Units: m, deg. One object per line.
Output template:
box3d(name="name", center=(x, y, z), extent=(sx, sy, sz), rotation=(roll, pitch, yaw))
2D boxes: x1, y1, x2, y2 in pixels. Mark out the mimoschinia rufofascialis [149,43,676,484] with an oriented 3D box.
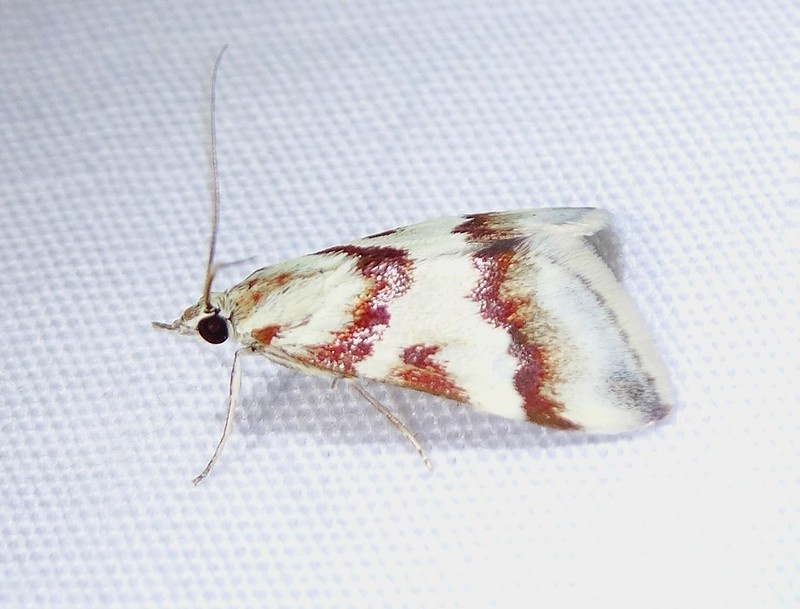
box3d(name="mimoschinia rufofascialis", center=(-0.003, -0.004, 2.038), extent=(1.155, 0.400, 0.505), rotation=(6, 52, 18))
